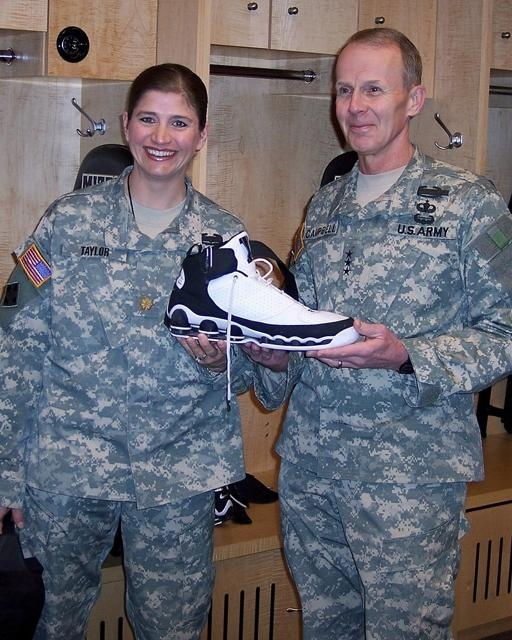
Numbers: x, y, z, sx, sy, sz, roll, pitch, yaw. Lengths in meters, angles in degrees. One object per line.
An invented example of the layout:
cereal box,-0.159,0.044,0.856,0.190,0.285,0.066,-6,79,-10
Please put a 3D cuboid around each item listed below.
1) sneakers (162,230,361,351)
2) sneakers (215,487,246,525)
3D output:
sneakers,0.022,-0.044,1.159,0.395,0.163,0.126,7,16,23
sneakers,-0.094,0.594,1.981,0.116,0.039,0.126,20,32,-29
